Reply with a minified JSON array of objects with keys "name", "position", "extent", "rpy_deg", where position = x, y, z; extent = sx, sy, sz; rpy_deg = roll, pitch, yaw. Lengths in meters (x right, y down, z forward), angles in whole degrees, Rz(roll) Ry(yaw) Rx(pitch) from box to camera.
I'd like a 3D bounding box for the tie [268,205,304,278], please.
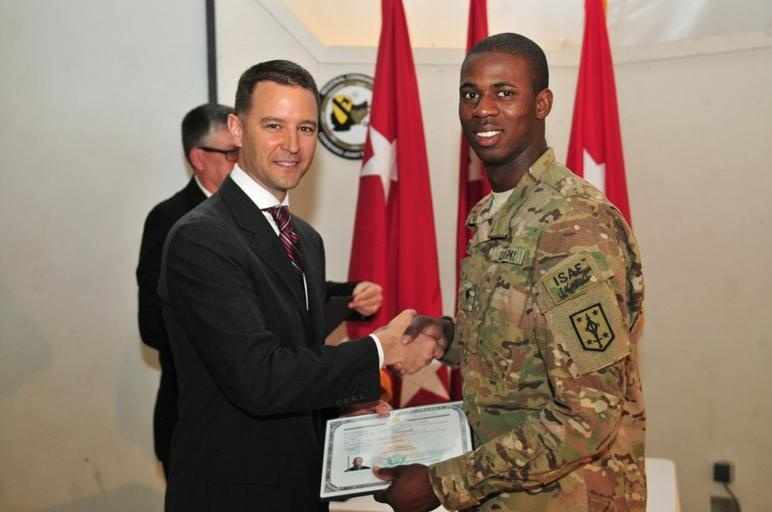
[{"name":"tie","position":[-0.458,-0.074,3.178],"extent":[0.070,0.319,0.187],"rpy_deg":[-15,1,28]}]
